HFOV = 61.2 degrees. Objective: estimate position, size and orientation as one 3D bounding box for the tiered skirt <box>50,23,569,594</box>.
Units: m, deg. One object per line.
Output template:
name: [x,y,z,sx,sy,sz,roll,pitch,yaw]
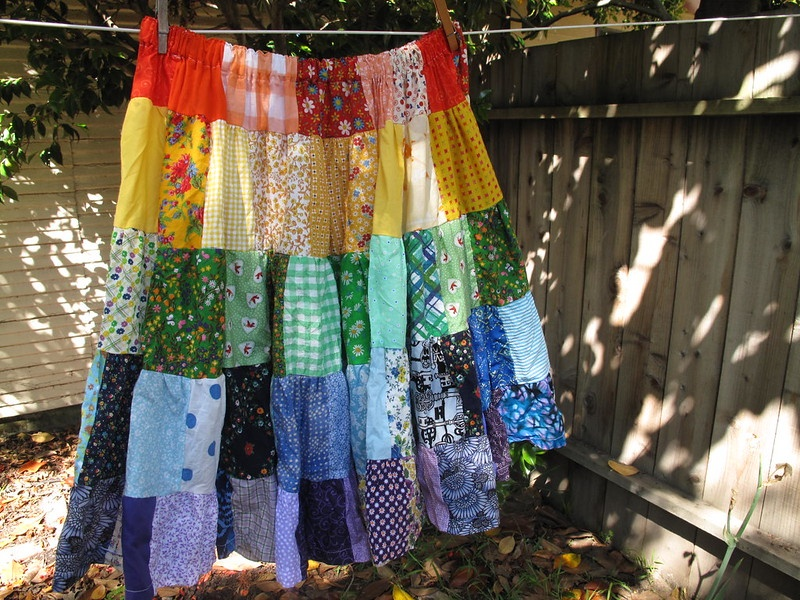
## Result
tiered skirt: [-0.303,0.028,2.095,1.561,1.738,0.587,-7,15,-22]
